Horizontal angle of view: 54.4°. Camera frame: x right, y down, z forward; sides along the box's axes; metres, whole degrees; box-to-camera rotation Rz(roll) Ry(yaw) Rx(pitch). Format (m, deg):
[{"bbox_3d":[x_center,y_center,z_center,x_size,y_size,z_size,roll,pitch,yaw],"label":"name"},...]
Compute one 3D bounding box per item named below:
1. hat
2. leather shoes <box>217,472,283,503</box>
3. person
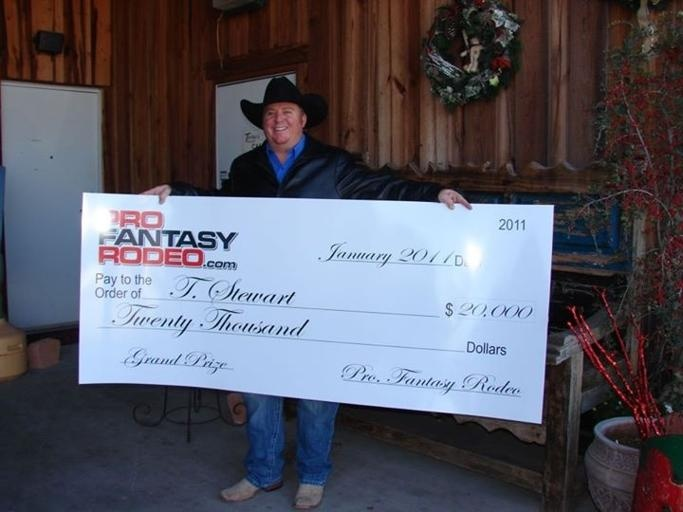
[{"bbox_3d":[-0.316,-0.911,3.829,0.521,0.226,0.451,-3,4,-43],"label":"hat"},{"bbox_3d":[-0.500,1.245,3.679,0.349,0.109,0.129,2,-1,-28],"label":"leather shoes"},{"bbox_3d":[-0.241,0.154,3.755,1.458,2.249,0.819,2,12,9],"label":"person"}]
